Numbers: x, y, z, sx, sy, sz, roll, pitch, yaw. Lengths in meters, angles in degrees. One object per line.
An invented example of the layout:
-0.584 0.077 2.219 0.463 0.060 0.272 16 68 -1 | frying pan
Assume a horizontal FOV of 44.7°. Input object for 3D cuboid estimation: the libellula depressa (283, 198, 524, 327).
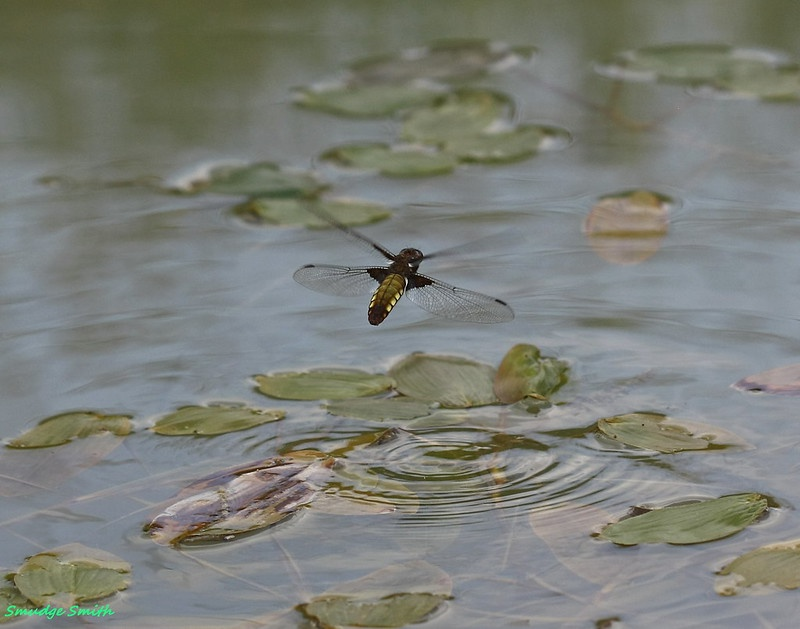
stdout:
0.025 -0.110 3.146 0.833 0.221 0.324 13 31 5 | libellula depressa
